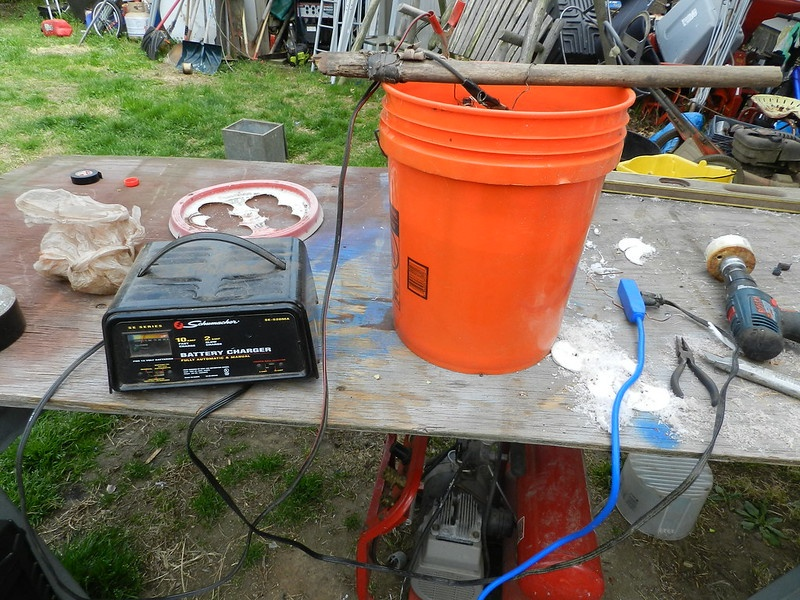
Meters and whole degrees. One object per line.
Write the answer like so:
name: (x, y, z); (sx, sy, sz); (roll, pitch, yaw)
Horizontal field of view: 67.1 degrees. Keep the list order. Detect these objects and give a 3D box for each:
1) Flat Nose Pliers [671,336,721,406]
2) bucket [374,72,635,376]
Flat Nose Pliers: (0.827, 0.205, 1.769); (0.190, 0.136, 0.139); (2, 25, 9)
bucket: (0.267, -0.240, 1.863); (0.720, 0.757, 0.686); (3, 26, -1)
